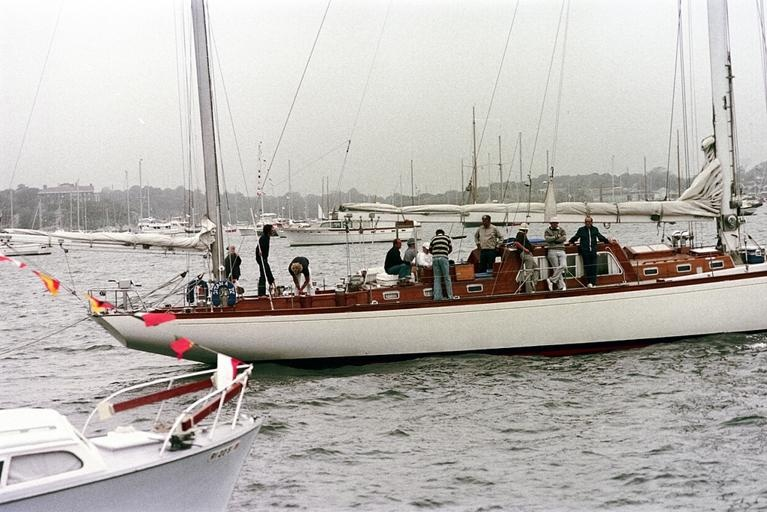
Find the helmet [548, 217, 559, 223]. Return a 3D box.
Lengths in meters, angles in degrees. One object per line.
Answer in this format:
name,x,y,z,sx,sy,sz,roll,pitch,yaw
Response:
helmet,4.150,-0.886,19.241,0.231,0.165,0.220,-2,2,7

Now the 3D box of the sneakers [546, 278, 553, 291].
sneakers,4.082,0.687,19.488,0.139,0.334,0.112,-6,17,36

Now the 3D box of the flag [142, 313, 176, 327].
flag,-4.518,1.257,15.774,0.588,0.232,0.948,2,-1,26

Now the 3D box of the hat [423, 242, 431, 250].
hat,1.083,-0.265,20.092,0.136,0.194,0.148,-2,-1,2
